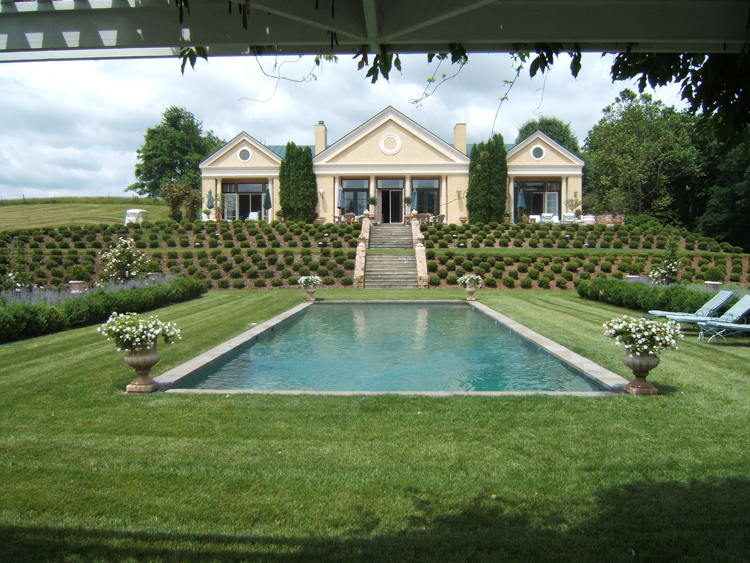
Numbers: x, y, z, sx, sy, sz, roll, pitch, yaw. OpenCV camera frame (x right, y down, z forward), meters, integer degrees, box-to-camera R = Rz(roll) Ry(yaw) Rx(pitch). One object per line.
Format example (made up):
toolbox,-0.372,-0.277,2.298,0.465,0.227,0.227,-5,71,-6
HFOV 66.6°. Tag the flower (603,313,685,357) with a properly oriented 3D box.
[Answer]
flower,4.176,0.851,9.240,0.957,0.509,0.901,0,-2,0

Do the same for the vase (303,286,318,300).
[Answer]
vase,-2.601,0.527,22.954,0.571,0.614,0.562,-1,-1,-3

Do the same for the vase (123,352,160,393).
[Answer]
vase,-3.797,1.450,9.268,0.576,0.693,0.560,-1,-6,-31

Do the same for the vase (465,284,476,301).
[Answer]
vase,3.808,0.498,22.798,0.574,0.669,0.564,0,-2,-1

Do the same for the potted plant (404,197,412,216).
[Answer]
potted plant,2.378,-5.380,41.416,0.560,1.483,1.289,0,8,2

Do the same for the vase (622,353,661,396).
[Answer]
vase,4.194,1.503,9.174,0.646,0.702,0.608,0,-2,1

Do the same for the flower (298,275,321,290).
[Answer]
flower,-2.663,0.101,23.151,0.754,0.569,1.274,0,8,-2
